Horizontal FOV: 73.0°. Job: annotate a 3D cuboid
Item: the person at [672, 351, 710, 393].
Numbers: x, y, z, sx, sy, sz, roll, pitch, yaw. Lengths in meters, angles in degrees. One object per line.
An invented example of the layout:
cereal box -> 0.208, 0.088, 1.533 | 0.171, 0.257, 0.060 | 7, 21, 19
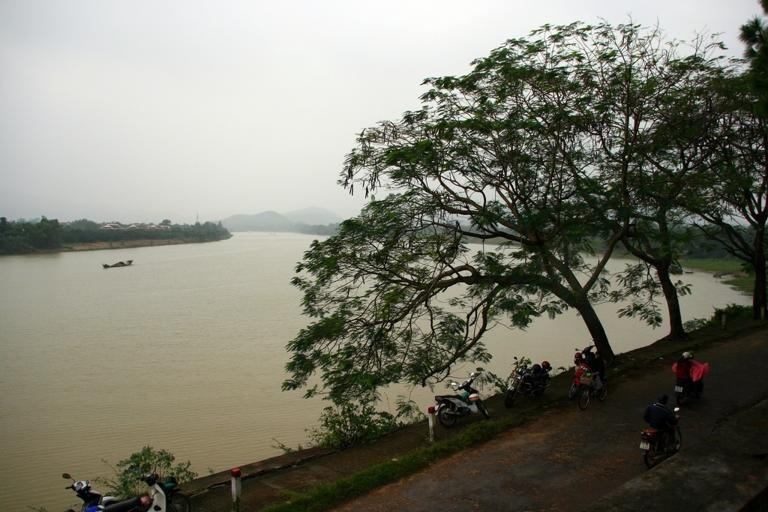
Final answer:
person -> 10.475, 4.044, 17.656 | 0.963, 1.537, 0.758 | -3, -1, 23

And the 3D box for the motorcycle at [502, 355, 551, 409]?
motorcycle -> 5.542, 4.967, 20.281 | 2.053, 1.569, 0.725 | -2, -2, -20

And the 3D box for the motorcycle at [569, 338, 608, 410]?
motorcycle -> 7.479, 4.418, 18.949 | 1.242, 2.095, 1.724 | -3, -2, 20

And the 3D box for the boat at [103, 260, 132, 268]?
boat -> -59.141, 1.836, 113.111 | 7.532, 1.192, 1.523 | -3, -2, -11
